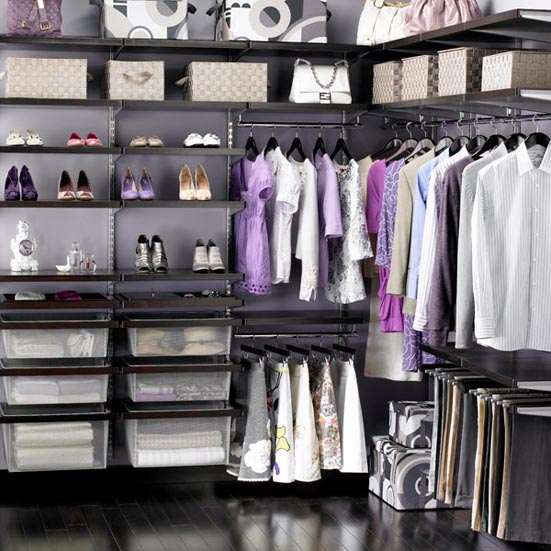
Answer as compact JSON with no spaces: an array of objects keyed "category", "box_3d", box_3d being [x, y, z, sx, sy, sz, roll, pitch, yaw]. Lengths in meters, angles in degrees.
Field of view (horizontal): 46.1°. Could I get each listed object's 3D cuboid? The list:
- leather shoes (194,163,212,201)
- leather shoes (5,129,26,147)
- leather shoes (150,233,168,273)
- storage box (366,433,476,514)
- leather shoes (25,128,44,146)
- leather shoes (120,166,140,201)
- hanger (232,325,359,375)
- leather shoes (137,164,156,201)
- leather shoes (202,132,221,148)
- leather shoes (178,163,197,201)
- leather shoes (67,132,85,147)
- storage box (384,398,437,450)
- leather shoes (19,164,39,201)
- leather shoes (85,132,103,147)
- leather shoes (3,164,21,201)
[{"category":"leather shoes","box_3d":[-0.392,-0.486,3.472,0.075,0.092,0.256,-1,43,-10]},{"category":"leather shoes","box_3d":[-1.330,-0.692,3.293,0.067,0.079,0.183,-1,2,-17]},{"category":"leather shoes","box_3d":[-0.632,-0.115,3.414,0.074,0.099,0.247,-1,33,-16]},{"category":"storage box","box_3d":[0.718,1.022,3.464,0.409,0.266,0.412,0,2,-9]},{"category":"leather shoes","box_3d":[-1.227,-0.697,3.292,0.063,0.073,0.188,-1,4,-17]},{"category":"leather shoes","box_3d":[-0.766,-0.470,3.397,0.074,0.089,0.225,-3,28,-9]},{"category":"hanger","box_3d":[0.140,0.369,3.854,0.769,0.165,0.431,-2,-1,-5]},{"category":"leather shoes","box_3d":[-0.688,-0.490,3.459,0.077,0.093,0.242,-3,35,-8]},{"category":"leather shoes","box_3d":[-0.346,-0.729,3.491,0.063,0.056,0.142,1,1,-12]},{"category":"leather shoes","box_3d":[-0.473,-0.495,3.438,0.083,0.091,0.257,-1,38,-11]},{"category":"leather shoes","box_3d":[-1.033,-0.683,3.329,0.080,0.063,0.149,-1,2,-10]},{"category":"storage box","box_3d":[0.744,0.811,3.556,0.171,0.269,0.267,4,0,15]},{"category":"leather shoes","box_3d":[-1.279,-0.478,3.375,0.075,0.096,0.251,-10,55,-23]},{"category":"leather shoes","box_3d":[-0.945,-0.699,3.349,0.064,0.066,0.183,-1,7,-11]},{"category":"leather shoes","box_3d":[-1.333,-0.457,3.317,0.074,0.099,0.242,1,50,-18]}]
